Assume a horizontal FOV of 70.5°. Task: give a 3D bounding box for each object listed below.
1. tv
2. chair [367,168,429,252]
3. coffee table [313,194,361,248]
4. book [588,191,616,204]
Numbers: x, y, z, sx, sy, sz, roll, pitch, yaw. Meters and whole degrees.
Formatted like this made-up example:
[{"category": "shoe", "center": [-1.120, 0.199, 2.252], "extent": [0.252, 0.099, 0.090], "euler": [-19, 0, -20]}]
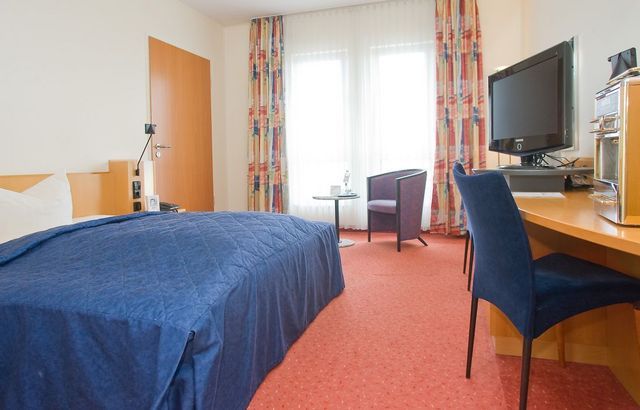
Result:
[{"category": "tv", "center": [1.616, -0.777, 3.520], "extent": [0.164, 0.770, 0.822], "euler": [-5, 7, -12]}, {"category": "chair", "center": [0.981, 0.029, 5.652], "extent": [0.615, 0.943, 0.738], "euler": [-3, 7, -22]}, {"category": "coffee table", "center": [0.219, 0.188, 5.731], "extent": [0.542, 0.591, 0.542], "euler": [-2, 3, 1]}, {"category": "book", "center": [1.501, -0.038, 2.384], "extent": [0.007, 0.055, 0.116], "euler": [13, 4, -10]}]
